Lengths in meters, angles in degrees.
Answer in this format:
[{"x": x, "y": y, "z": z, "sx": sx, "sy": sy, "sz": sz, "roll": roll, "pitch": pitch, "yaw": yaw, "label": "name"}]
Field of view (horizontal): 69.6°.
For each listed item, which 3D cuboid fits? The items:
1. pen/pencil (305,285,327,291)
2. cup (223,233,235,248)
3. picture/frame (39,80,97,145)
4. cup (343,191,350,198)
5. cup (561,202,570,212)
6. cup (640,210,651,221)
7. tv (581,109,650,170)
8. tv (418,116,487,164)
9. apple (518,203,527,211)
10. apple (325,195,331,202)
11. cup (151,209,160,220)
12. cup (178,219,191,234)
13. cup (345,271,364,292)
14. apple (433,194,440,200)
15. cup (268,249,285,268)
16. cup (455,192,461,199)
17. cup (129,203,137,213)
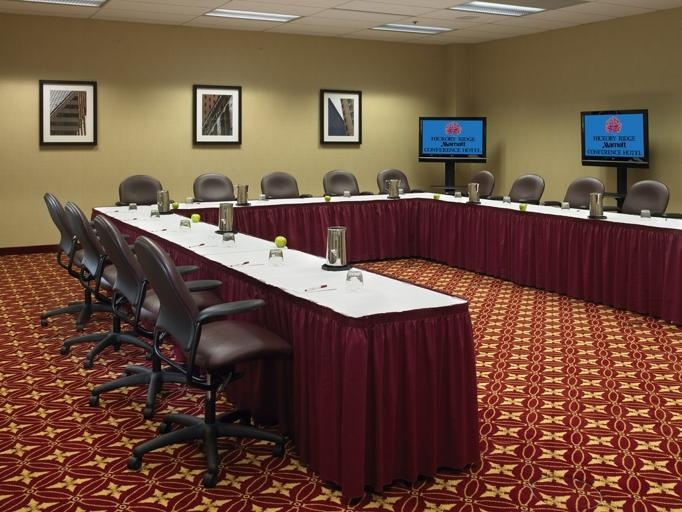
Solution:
[{"x": -0.136, "y": 0.178, "z": 2.703, "sx": 0.021, "sy": 0.022, "sz": 0.174, "roll": -1, "pitch": 1, "yaw": 31, "label": "pen/pencil"}, {"x": -0.921, "y": -0.127, "z": 4.051, "sx": 0.094, "sy": 0.085, "sz": 0.093, "roll": 0, "pitch": 11, "yaw": 0, "label": "cup"}, {"x": -4.418, "y": -2.322, "z": 7.893, "sx": 1.022, "sy": 1.321, "sz": 0.064, "roll": 0, "pitch": 4, "yaw": -29, "label": "picture/frame"}, {"x": 0.091, "y": -0.907, "z": 7.276, "sx": 0.097, "sy": 0.071, "sz": 0.105, "roll": -1, "pitch": 6, "yaw": 0, "label": "cup"}, {"x": 2.720, "y": -0.590, "z": 5.925, "sx": 0.134, "sy": 0.136, "sz": 0.138, "roll": 0, "pitch": 2, "yaw": 0, "label": "cup"}, {"x": 3.193, "y": -0.423, "z": 5.152, "sx": 0.125, "sy": 0.102, "sz": 0.130, "roll": 0, "pitch": 10, "yaw": 0, "label": "cup"}, {"x": 4.337, "y": -1.830, "z": 7.726, "sx": 0.077, "sy": 0.756, "sz": 0.969, "roll": -5, "pitch": 10, "yaw": -33, "label": "tv"}, {"x": 2.222, "y": -2.291, "z": 9.737, "sx": 0.889, "sy": 0.652, "sz": 0.095, "roll": 3, "pitch": 4, "yaw": 20, "label": "tv"}, {"x": 2.170, "y": -0.575, "z": 5.872, "sx": 0.074, "sy": 0.075, "sz": 0.076, "roll": -2, "pitch": 7, "yaw": -14, "label": "apple"}, {"x": -0.169, "y": -0.805, "z": 6.939, "sx": 0.091, "sy": 0.094, "sz": 0.129, "roll": -4, "pitch": 9, "yaw": -17, "label": "apple"}, {"x": -2.115, "y": -0.474, "z": 5.601, "sx": 0.123, "sy": 0.115, "sz": 0.126, "roll": -1, "pitch": 11, "yaw": 0, "label": "cup"}, {"x": -1.511, "y": -0.286, "z": 4.780, "sx": 0.135, "sy": 0.113, "sz": 0.140, "roll": -1, "pitch": 10, "yaw": 0, "label": "cup"}, {"x": 0.072, "y": 0.137, "z": 2.696, "sx": 0.088, "sy": 0.104, "sz": 0.104, "roll": 0, "pitch": 1, "yaw": -5, "label": "cup"}, {"x": 1.377, "y": -0.845, "z": 7.096, "sx": 0.078, "sy": 0.069, "sz": 0.079, "roll": -1, "pitch": 1, "yaw": -36, "label": "apple"}, {"x": -0.424, "y": 0.024, "z": 3.329, "sx": 0.108, "sy": 0.109, "sz": 0.107, "roll": 0, "pitch": 3, "yaw": 0, "label": "cup"}, {"x": 1.676, "y": -0.862, "z": 7.037, "sx": 0.090, "sy": 0.124, "sz": 0.113, "roll": -1, "pitch": -1, "yaw": 0, "label": "cup"}, {"x": -2.584, "y": -0.598, "z": 6.095, "sx": 0.116, "sy": 0.101, "sz": 0.121, "roll": -1, "pitch": 7, "yaw": 0, "label": "cup"}]
